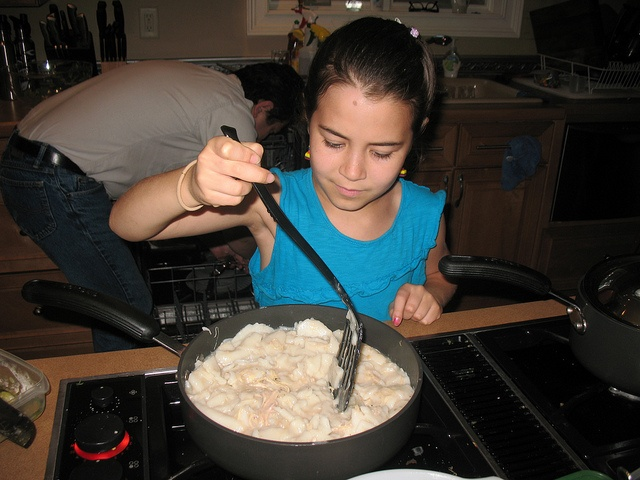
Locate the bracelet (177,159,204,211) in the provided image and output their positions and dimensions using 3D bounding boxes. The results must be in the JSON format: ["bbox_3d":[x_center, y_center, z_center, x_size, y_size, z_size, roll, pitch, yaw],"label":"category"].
[{"bbox_3d":[-0.292,-0.132,1.100,0.074,0.105,0.025,2,6,23],"label":"bracelet"}]

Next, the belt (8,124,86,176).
[{"bbox_3d":[-1.021,-0.333,1.811,0.176,0.063,0.199,30,1,12],"label":"belt"}]
